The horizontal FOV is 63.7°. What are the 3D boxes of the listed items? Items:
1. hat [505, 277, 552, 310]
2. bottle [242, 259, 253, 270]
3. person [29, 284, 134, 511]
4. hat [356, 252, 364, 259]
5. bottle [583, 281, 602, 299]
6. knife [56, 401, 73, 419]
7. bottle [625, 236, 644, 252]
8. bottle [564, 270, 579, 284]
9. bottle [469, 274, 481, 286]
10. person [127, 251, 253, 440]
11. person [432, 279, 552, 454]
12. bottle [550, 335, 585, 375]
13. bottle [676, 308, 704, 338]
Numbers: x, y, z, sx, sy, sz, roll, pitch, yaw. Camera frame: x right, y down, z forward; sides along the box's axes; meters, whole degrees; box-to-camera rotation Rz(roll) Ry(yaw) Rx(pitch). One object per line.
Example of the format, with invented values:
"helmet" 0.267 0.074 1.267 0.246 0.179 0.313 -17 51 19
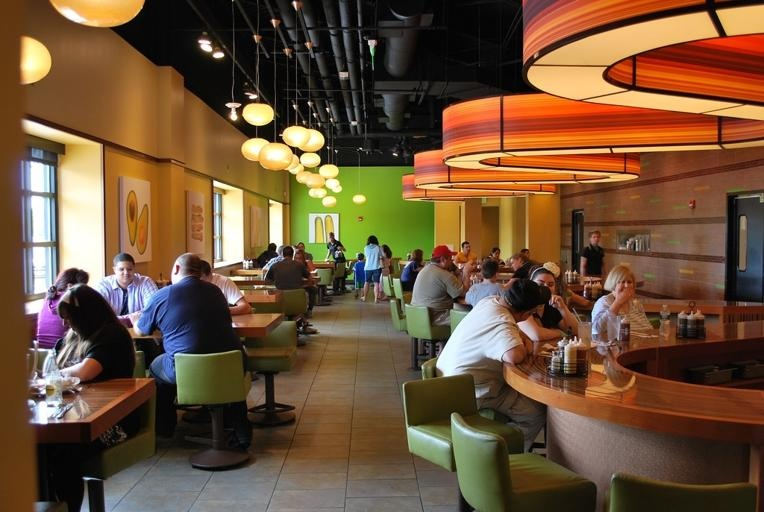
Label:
"hat" 0.967 0.229 4.029 0.294 0.140 0.178 -20 29 -17
"bottle" -2.700 0.159 12.263 0.222 0.194 0.207 1 -10 7
"person" -1.703 0.804 3.628 0.518 1.255 0.742 -3 6 -21
"hat" -0.537 -0.004 14.896 0.151 0.147 0.189 2 9 8
"bottle" 2.617 0.414 7.552 0.280 0.240 0.260 0 -2 5
"knife" -1.600 0.773 3.111 0.058 0.011 0.248 -1 5 -14
"bottle" 4.392 -0.203 10.699 0.220 0.349 0.382 -1 1 -5
"bottle" 2.623 0.288 8.578 0.205 0.112 0.197 -1 0 0
"bottle" 1.207 0.314 8.052 0.111 0.074 0.143 -7 -7 4
"person" -1.470 0.753 4.925 1.047 1.407 0.880 -2 2 6
"person" 0.792 0.748 4.105 0.903 1.172 0.597 6 12 16
"bottle" 1.089 0.586 3.617 0.212 0.189 0.200 1 -2 -5
"bottle" 2.311 0.512 4.705 0.222 0.193 0.212 -2 0 16
